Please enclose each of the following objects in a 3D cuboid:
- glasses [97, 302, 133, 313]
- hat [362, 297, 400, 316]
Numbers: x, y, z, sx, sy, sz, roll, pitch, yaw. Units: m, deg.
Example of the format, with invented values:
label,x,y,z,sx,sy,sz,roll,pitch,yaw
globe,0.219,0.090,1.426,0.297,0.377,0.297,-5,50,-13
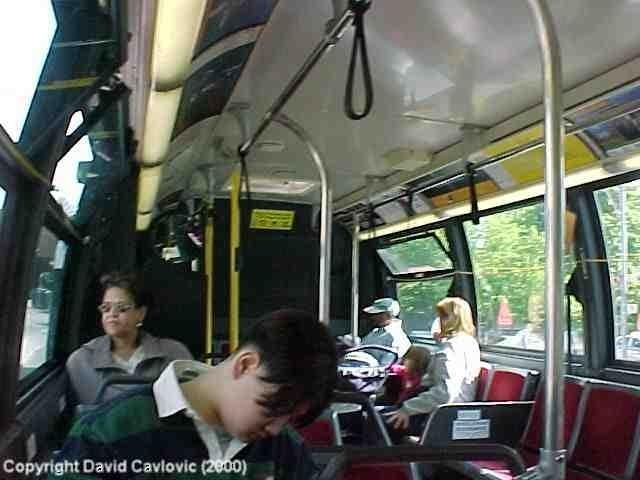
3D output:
label,x,y,z,sx,sy,sz,roll,pitch,yaw
glasses,-0.543,0.182,1.251,0.098,0.039,0.016,-2,-13,5
hat,0.194,0.211,1.458,0.091,0.041,0.055,3,-15,-1
